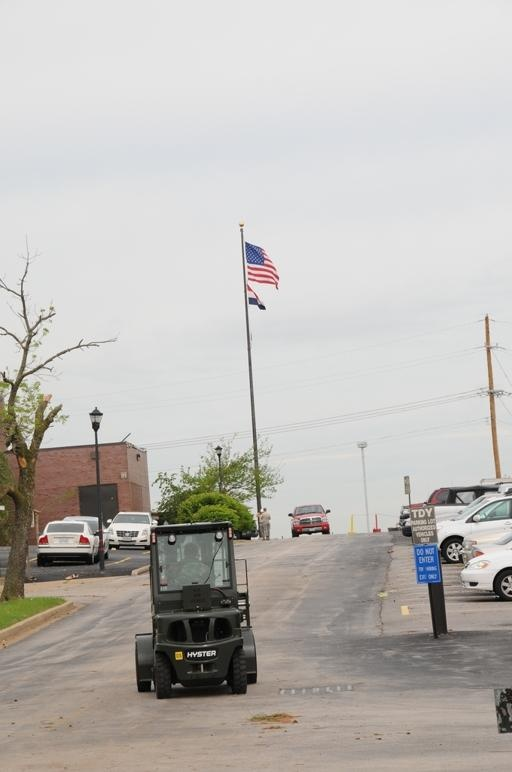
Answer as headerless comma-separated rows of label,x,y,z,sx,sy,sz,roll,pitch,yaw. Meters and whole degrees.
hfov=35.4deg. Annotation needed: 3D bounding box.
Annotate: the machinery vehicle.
machinery vehicle,-0.753,2.728,9.791,1.417,2.082,0.985,-3,-9,-3
